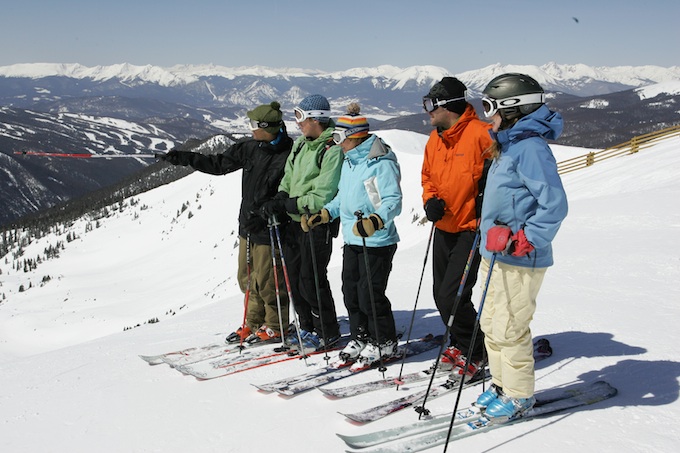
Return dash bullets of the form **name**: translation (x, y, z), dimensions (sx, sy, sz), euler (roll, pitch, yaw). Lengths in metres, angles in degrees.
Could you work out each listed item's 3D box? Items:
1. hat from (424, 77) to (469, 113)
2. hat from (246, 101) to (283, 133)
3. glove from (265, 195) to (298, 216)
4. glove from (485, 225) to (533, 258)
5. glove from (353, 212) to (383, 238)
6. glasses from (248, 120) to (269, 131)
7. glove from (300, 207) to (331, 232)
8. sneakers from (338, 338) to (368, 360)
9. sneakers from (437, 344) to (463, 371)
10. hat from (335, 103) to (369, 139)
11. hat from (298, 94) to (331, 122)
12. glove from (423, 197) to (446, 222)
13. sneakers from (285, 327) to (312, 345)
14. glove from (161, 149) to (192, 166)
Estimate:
- **hat**: translation (1.738, -2.213, 10.483), dimensions (0.759, 0.606, 0.313), euler (-4, 14, 6)
- **hat**: translation (-1.416, -2.176, 11.986), dimensions (0.721, 0.499, 0.475), euler (8, 46, -7)
- **glove**: translation (-1.085, -0.385, 11.552), dimensions (0.512, 0.170, 0.370), euler (-6, 1, -29)
- **glove**: translation (2.453, 0.248, 9.405), dimensions (0.938, 0.399, 0.725), euler (12, -3, -4)
- **glove**: translation (0.481, -0.041, 10.559), dimensions (0.363, 0.258, 0.502), euler (5, 16, 41)
- **glasses**: translation (-1.554, -1.933, 11.900), dimensions (0.258, 0.115, 0.209), euler (14, 15, 10)
- **glove**: translation (-0.475, -0.140, 11.250), dimensions (0.506, 0.228, 0.374), euler (-37, 43, -9)
- **sneakers**: translation (0.198, 2.228, 11.295), dimensions (0.520, 0.243, 0.274), euler (-30, 45, -6)
- **sneakers**: translation (1.903, 2.309, 10.819), dimensions (0.522, 0.215, 0.246), euler (-4, 8, -34)
- **hat**: translation (0.230, -1.918, 11.123), dimensions (0.721, 0.609, 0.520), euler (-2, 28, 3)
- **hat**: translation (-0.516, -2.190, 11.671), dimensions (0.698, 0.559, 0.537), euler (2, 23, -1)
- **glove**: translation (1.569, -0.279, 10.480), dimensions (0.336, 0.406, 0.182), euler (0, 0, 21)
- **sneakers**: translation (-0.801, 2.142, 11.980), dimensions (0.616, 0.239, 0.196), euler (1, -2, -27)
- **glove**: translation (-3.332, -1.405, 12.721), dimensions (0.879, 0.297, 0.249), euler (3, 13, -11)
